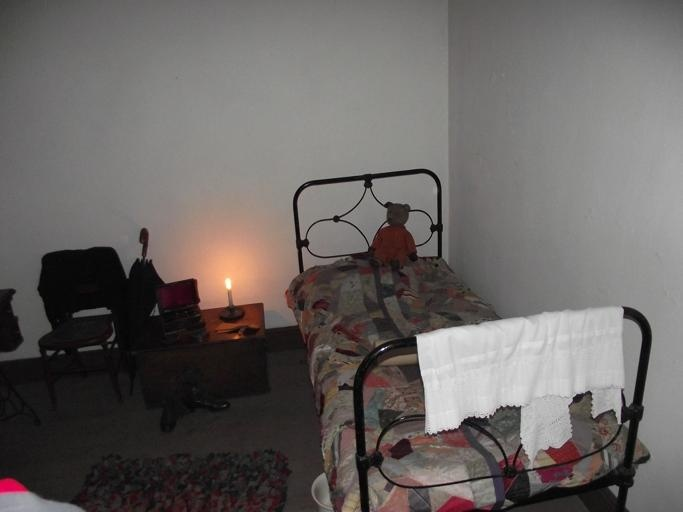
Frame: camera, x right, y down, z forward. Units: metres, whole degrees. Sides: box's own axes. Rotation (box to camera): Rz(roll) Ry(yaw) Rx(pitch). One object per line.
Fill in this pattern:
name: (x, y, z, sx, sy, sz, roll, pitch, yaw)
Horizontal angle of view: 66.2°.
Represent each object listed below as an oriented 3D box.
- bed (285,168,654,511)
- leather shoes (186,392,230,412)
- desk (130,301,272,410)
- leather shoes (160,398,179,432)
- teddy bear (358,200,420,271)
bed: (0.557, 0.366, 3.039, 1.423, 1.668, 2.095, -7, 12, -9)
leather shoes: (-0.859, 0.944, 3.392, 0.188, 0.050, 0.144, 5, 11, 0)
desk: (-0.889, 0.633, 3.543, 0.804, 0.494, 0.477, -3, 31, -6)
leather shoes: (-1.085, 0.997, 3.296, 0.101, 0.165, 0.129, -7, 12, -11)
teddy bear: (0.345, -0.160, 3.619, 0.339, 0.433, 0.295, 8, 19, 22)
